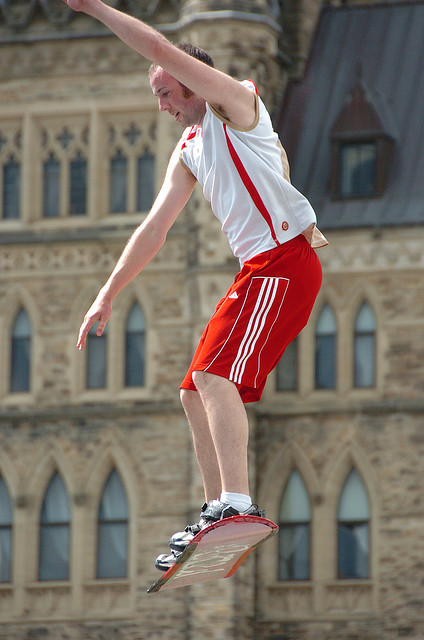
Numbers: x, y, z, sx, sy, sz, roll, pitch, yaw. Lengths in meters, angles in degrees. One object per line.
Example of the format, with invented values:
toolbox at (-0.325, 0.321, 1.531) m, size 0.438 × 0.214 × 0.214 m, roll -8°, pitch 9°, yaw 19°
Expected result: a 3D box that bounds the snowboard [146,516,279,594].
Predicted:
snowboard at (-0.051, 1.690, 16.896) m, size 0.623 × 0.173 × 1.583 m, roll -32°, pitch -12°, yaw -13°
